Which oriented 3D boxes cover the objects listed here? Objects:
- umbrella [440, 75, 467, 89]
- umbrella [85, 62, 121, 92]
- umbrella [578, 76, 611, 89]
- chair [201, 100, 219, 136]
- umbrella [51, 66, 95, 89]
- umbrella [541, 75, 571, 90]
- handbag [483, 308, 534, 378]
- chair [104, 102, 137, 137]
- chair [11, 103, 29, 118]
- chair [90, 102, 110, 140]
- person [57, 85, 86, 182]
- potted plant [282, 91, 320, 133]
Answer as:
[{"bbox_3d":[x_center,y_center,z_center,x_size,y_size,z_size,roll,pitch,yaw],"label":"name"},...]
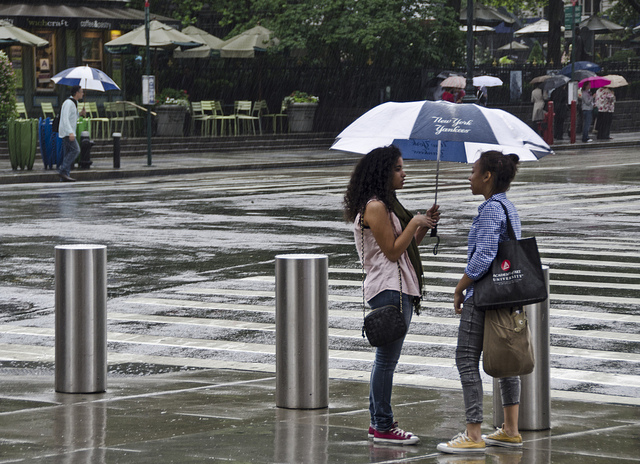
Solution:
[{"bbox_3d":[4.488,-4.947,52.795,0.625,0.248,0.623,1,5,34],"label":"umbrella"},{"bbox_3d":[-5.988,-4.081,42.340,0.838,0.399,0.815,2,8,-6],"label":"umbrella"},{"bbox_3d":[9.512,-5.008,53.301,0.614,0.301,0.606,-1,-5,21],"label":"umbrella"},{"bbox_3d":[-3.648,-3.585,50.346,0.707,1.082,0.781,1,2,0],"label":"chair"},{"bbox_3d":[-6.667,-4.028,41.837,1.237,0.410,1.237,-1,-3,41],"label":"umbrella"},{"bbox_3d":[7.914,-4.865,52.312,0.975,0.470,1.230,1,8,9],"label":"umbrella"},{"bbox_3d":[2.158,1.294,17.915,0.576,0.784,0.194,0,7,7],"label":"handbag"},{"bbox_3d":[-6.304,-3.460,48.073,0.777,1.323,0.919,-3,0,-30],"label":"chair"},{"bbox_3d":[-8.997,-3.444,45.598,0.451,0.688,0.523,-1,-1,-8],"label":"chair"},{"bbox_3d":[-6.761,-3.280,47.310,0.578,1.061,1.708,-2,7,-8],"label":"chair"},{"bbox_3d":[-6.174,-2.311,38.013,0.755,2.336,0.906,2,2,-2],"label":"person"},{"bbox_3d":[-0.719,-3.861,52.188,1.158,1.271,1.166,-1,7,-2],"label":"potted plant"}]
